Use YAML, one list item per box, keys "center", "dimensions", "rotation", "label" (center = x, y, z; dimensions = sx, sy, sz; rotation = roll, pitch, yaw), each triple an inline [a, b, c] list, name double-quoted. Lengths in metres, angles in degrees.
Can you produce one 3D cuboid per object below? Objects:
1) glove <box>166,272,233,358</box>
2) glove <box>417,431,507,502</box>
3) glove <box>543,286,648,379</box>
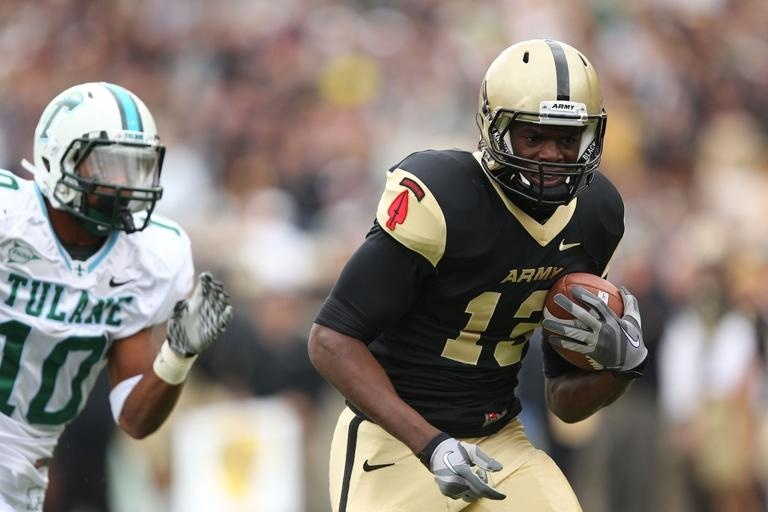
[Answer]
- center: [-0.812, 0.257, 4.419]
  dimensions: [0.319, 0.390, 0.088]
  rotation: [9, 6, 31]
  label: "glove"
- center: [0.319, 0.871, 4.104]
  dimensions: [0.359, 0.271, 0.140]
  rotation: [7, 5, 4]
  label: "glove"
- center: [0.948, 0.287, 4.494]
  dimensions: [0.443, 0.341, 0.234]
  rotation: [38, 21, -10]
  label: "glove"
